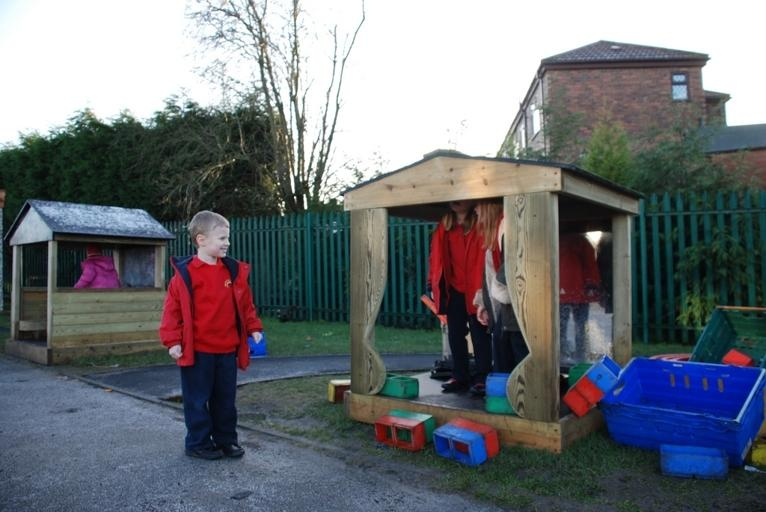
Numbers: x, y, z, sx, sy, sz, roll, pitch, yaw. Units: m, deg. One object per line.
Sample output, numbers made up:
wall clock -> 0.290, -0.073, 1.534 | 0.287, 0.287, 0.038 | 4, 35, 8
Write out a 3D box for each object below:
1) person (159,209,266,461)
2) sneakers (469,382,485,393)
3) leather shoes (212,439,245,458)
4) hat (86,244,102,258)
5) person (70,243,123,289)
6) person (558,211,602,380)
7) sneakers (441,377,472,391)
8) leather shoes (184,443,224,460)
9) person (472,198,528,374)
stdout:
person -> -2.058, 0.956, 7.809 | 1.134, 2.879, 0.816 | -8, 14, -28
sneakers -> 1.280, 1.760, 8.702 | 0.084, 0.108, 0.263 | 2, 3, 30
leather shoes -> -1.863, 2.326, 7.866 | 0.369, 0.171, 0.149 | -3, -1, 22
hat -> -5.634, -0.098, 12.706 | 0.199, 0.260, 0.262 | 0, 3, -17
person -> -5.873, 0.180, 13.439 | 0.960, 1.623, 0.625 | -3, 0, -37
person -> 3.124, 0.636, 10.347 | 0.649, 2.120, 0.416 | 1, 13, 8
sneakers -> 1.010, 1.766, 9.031 | 0.436, 0.204, 0.156 | 2, -2, -13
leather shoes -> -2.108, 2.327, 7.757 | 0.443, 0.203, 0.171 | -1, -3, 5
person -> 1.502, 0.409, 8.495 | 0.559, 2.145, 1.093 | -2, 13, -2
